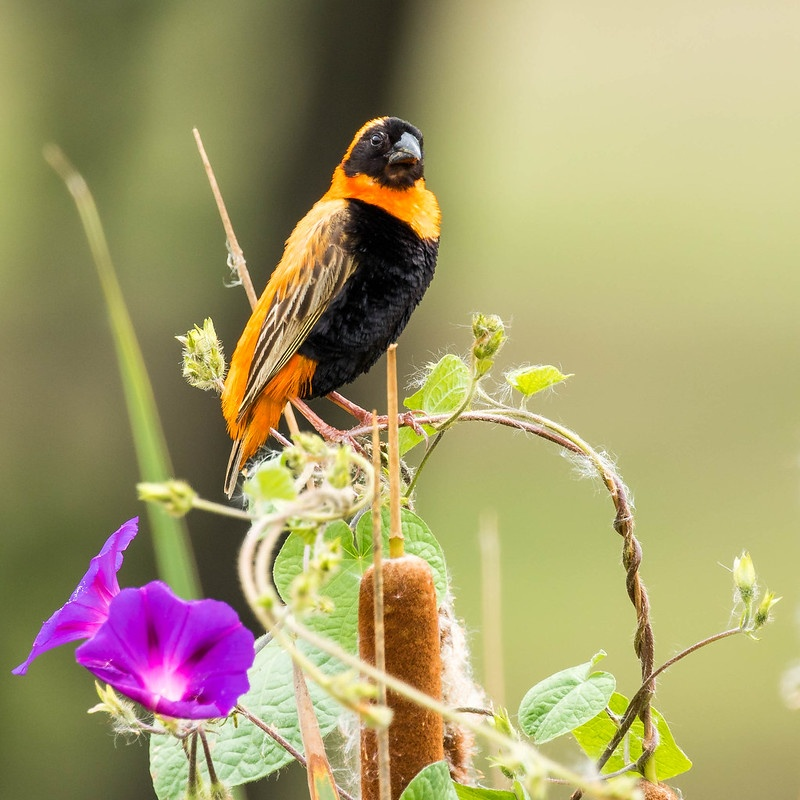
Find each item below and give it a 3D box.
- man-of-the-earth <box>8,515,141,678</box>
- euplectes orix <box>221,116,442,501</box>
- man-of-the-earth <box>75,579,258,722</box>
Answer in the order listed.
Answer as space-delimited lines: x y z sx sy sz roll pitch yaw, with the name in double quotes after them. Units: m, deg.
-0.691 0.414 2.415 0.210 0.375 0.232 17 28 28 "man-of-the-earth"
-0.242 -0.346 4.168 0.499 1.234 1.022 18 20 25 "euplectes orix"
-0.445 0.491 2.270 0.332 0.225 0.159 15 19 6 "man-of-the-earth"
